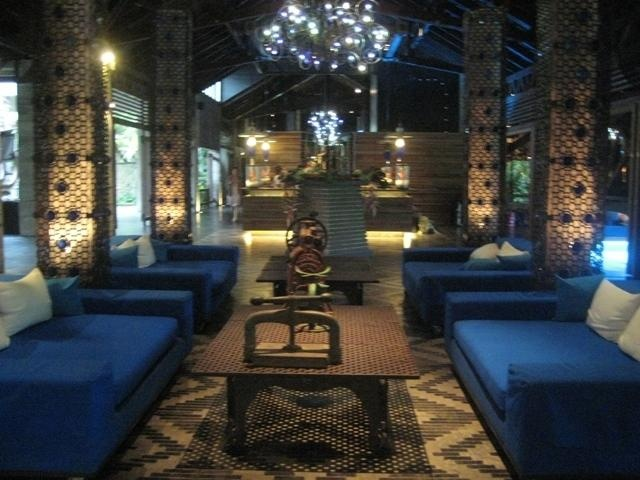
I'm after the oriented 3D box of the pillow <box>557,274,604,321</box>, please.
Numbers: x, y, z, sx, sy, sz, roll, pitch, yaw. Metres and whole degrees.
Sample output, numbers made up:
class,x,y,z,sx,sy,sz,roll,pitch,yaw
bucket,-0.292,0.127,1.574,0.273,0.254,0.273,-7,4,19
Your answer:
class,x,y,z,sx,sy,sz,roll,pitch,yaw
pillow,2.047,0.463,4.303,0.553,0.325,0.180,2,11,-31

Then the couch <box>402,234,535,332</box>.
class,x,y,z,sx,sy,sz,roll,pitch,yaw
couch,1.447,0.174,5.665,1.405,0.635,1.949,0,3,8

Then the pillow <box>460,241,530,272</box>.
class,x,y,z,sx,sy,sz,roll,pitch,yaw
pillow,1.871,0.192,5.589,0.564,0.098,0.432,-2,11,16

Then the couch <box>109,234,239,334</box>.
class,x,y,z,sx,sy,sz,roll,pitch,yaw
couch,-1.753,0.339,6.174,1.386,0.461,1.370,10,15,3

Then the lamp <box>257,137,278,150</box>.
class,x,y,z,sx,sy,sz,roll,pitch,yaw
lamp,-1.464,-2.674,15.124,0.580,0.193,0.425,0,2,9

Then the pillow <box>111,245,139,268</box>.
class,x,y,z,sx,sy,sz,roll,pitch,yaw
pillow,-2.131,0.203,5.851,0.282,0.225,0.267,-4,13,-14

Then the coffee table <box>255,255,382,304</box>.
class,x,y,z,sx,sy,sz,roll,pitch,yaw
coffee table,0.014,0.398,5.264,1.162,0.164,0.912,0,2,1
